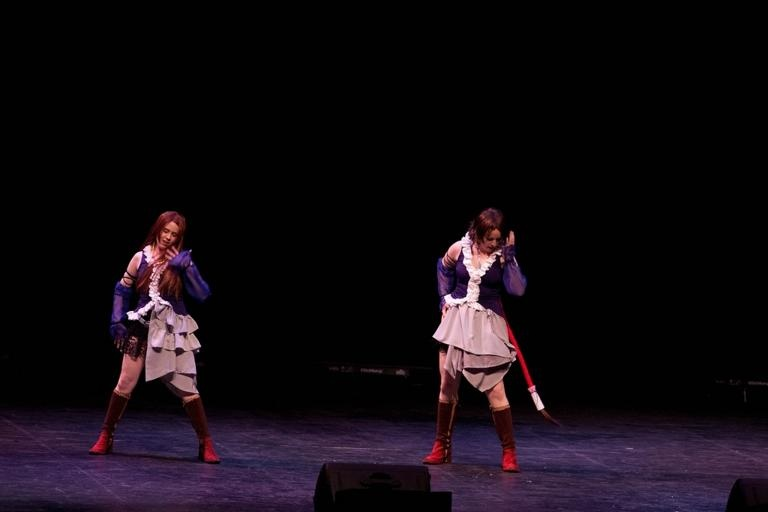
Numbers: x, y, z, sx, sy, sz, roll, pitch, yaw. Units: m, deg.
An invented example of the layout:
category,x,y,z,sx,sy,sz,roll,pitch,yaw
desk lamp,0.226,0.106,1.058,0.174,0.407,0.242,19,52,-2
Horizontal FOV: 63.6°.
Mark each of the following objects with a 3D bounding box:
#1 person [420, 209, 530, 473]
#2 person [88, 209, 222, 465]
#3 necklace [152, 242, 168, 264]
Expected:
category,x,y,z,sx,sy,sz,roll,pitch,yaw
person,0.647,0.563,4.277,0.651,1.770,0.298,4,-4,13
person,-1.535,0.541,4.292,0.912,1.220,0.332,3,-4,21
necklace,-1.574,-0.013,4.322,0.104,0.134,0.124,2,27,-3
